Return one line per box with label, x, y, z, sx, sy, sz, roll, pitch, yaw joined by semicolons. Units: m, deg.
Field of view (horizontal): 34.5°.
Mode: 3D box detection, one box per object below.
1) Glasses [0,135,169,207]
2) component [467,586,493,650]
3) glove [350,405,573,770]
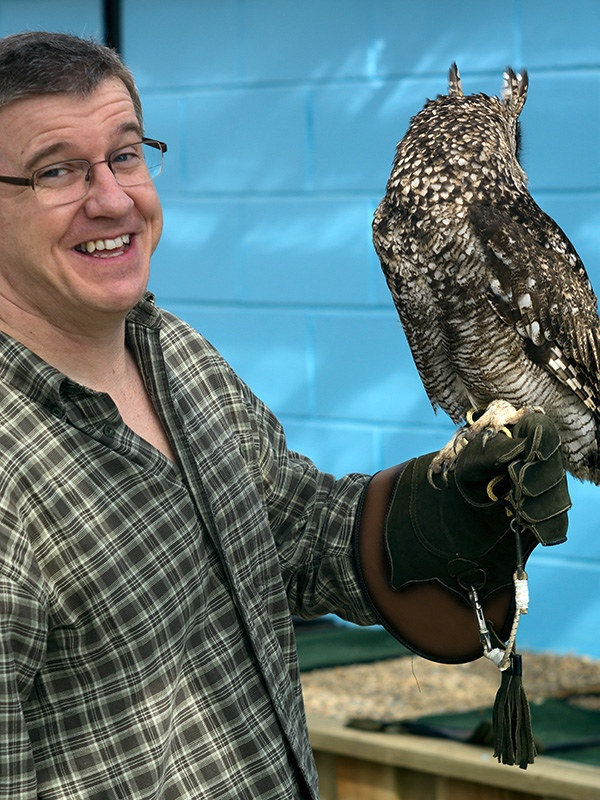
Glasses;-0.246;-0.270;1.153;0.149;0.034;0.144;-4;10;43
component;0.246;0.302;1.342;0.021;0.087;0.024;-30;-27;36
glove;0.207;0.236;1.322;0.191;0.470;0.366;-26;-42;24
